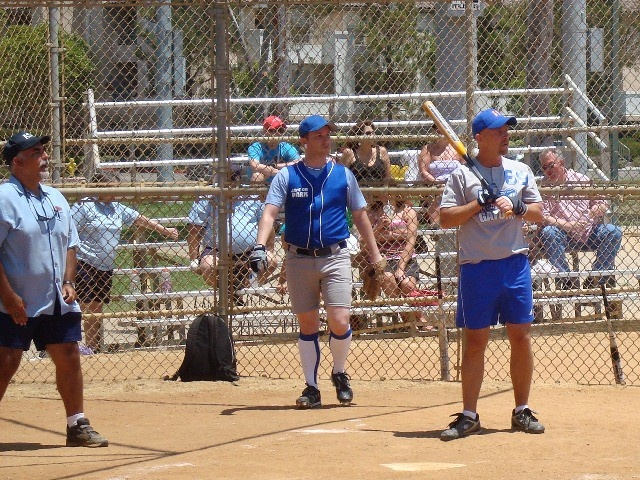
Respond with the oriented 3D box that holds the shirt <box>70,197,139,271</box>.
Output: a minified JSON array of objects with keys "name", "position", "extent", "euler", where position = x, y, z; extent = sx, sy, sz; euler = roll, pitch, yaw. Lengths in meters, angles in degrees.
[{"name":"shirt","position":[-2.503,-0.096,11.388],"extent":[0.791,0.616,0.265],"euler":[9,-6,-40]}]

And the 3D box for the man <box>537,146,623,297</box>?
[{"name":"man","position":[3.210,-0.269,12.653],"extent":[1.079,1.790,1.202],"euler":[-9,3,-10]}]

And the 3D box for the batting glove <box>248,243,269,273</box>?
[{"name":"batting glove","position":[-0.579,0.169,9.215],"extent":[0.191,0.252,0.101],"euler":[-4,1,-21]}]

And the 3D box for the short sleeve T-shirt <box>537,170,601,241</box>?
[{"name":"short sleeve T-shirt","position":[2.934,-0.361,11.583],"extent":[0.788,0.963,0.561],"euler":[-5,-6,-11]}]

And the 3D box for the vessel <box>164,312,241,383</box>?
[{"name":"vessel","position":[-1.205,1.141,10.228],"extent":[0.724,0.648,0.535],"euler":[-2,1,-3]}]

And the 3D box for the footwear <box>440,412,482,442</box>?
[{"name":"footwear","position":[1.214,1.606,8.536],"extent":[0.433,0.193,0.155],"euler":[-5,2,-32]}]

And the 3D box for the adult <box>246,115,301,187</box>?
[{"name":"adult","position":[-0.588,-0.984,12.210],"extent":[0.601,1.201,0.867],"euler":[5,-10,-12]}]

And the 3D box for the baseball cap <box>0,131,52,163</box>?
[{"name":"baseball cap","position":[-2.524,-0.817,8.433],"extent":[0.353,0.183,0.235],"euler":[-33,10,8]}]

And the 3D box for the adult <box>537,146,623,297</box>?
[{"name":"adult","position":[3.221,-0.260,12.645],"extent":[1.027,1.794,1.233],"euler":[-8,2,-5]}]

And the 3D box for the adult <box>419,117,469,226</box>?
[{"name":"adult","position":[1.482,-0.589,12.439],"extent":[0.512,1.406,0.466],"euler":[8,33,-5]}]

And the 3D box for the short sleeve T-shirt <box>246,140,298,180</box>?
[{"name":"short sleeve T-shirt","position":[-0.564,-0.957,11.702],"extent":[0.639,0.702,0.393],"euler":[0,-9,-10]}]

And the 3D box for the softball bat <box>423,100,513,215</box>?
[{"name":"softball bat","position":[1.256,-0.844,8.910],"extent":[0.233,0.191,2.111],"euler":[-1,43,-23]}]

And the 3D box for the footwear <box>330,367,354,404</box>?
[{"name":"footwear","position":[0.217,1.401,9.615],"extent":[0.142,0.188,0.368],"euler":[-7,36,-19]}]

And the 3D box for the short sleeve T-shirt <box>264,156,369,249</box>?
[{"name":"short sleeve T-shirt","position":[-0.041,-0.341,9.370],"extent":[0.891,0.802,0.302],"euler":[0,9,5]}]

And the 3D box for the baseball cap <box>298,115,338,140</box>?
[{"name":"baseball cap","position":[-0.045,-1.058,9.430],"extent":[0.293,0.143,0.217],"euler":[-20,4,35]}]

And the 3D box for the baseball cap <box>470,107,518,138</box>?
[{"name":"baseball cap","position":[1.519,-1.031,8.555],"extent":[0.323,0.156,0.218],"euler":[-14,6,27]}]

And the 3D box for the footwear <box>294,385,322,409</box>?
[{"name":"footwear","position":[-0.100,1.512,9.493],"extent":[0.127,0.150,0.321],"euler":[-3,-9,19]}]

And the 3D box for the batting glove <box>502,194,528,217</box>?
[{"name":"batting glove","position":[1.684,-0.299,8.426],"extent":[0.190,0.070,0.144],"euler":[37,47,10]}]

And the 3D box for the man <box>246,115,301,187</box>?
[{"name":"man","position":[-0.574,-0.979,12.204],"extent":[0.608,1.208,0.882],"euler":[3,-9,-7]}]

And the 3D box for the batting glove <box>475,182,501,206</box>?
[{"name":"batting glove","position":[1.439,-0.377,8.395],"extent":[0.179,0.186,0.113],"euler":[1,9,10]}]

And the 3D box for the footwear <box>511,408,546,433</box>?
[{"name":"footwear","position":[1.818,1.563,8.559],"extent":[0.155,0.136,0.306],"euler":[-3,-1,-34]}]
